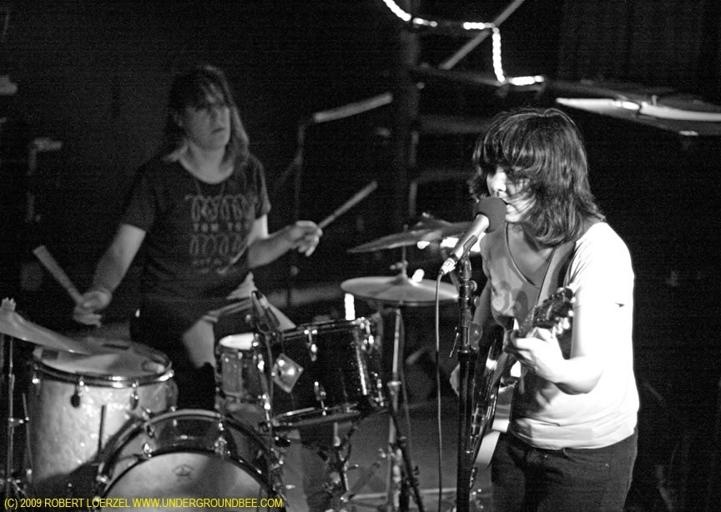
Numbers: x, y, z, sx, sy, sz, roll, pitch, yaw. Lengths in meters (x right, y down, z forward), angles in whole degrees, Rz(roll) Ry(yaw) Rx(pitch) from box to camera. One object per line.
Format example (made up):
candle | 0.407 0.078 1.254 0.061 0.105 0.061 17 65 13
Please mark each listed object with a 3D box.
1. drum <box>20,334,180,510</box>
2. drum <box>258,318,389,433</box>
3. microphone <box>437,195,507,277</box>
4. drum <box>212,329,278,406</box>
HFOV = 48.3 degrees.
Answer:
drum | -1.226 0.743 3.960 0.738 0.667 0.705 5 18 -38
drum | -0.161 0.586 3.912 0.580 0.362 0.537 -8 -13 -2
microphone | 0.426 -0.073 3.014 0.231 0.300 0.150 1 -8 11
drum | -0.532 0.548 3.837 0.319 0.316 0.350 0 -2 -1
